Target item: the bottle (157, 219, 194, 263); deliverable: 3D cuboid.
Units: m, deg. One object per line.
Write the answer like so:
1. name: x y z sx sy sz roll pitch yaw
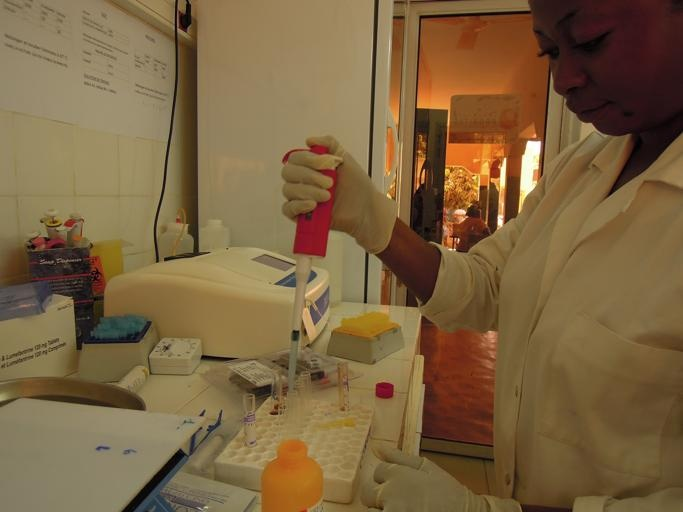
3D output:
1. bottle: -0.691 -0.087 2.277 0.151 0.201 0.163 5 11 -1

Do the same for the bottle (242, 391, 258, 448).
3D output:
1. bottle: -0.230 0.404 1.309 0.028 0.108 0.075 -2 11 -12
